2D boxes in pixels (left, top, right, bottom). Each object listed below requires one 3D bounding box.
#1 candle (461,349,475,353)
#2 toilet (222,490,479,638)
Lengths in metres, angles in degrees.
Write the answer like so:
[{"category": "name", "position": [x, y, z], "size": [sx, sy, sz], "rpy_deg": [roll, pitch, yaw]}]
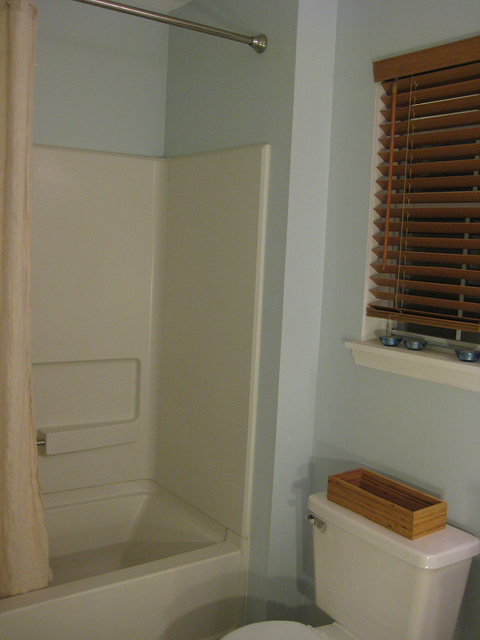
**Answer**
[{"category": "candle", "position": [0.536, 0.070, 1.311], "size": [0.028, 0.005, 0.042], "rpy_deg": [7, 9, 19]}, {"category": "toilet", "position": [0.261, 0.634, 1.325], "size": [0.473, 0.355, 0.342], "rpy_deg": [-1, 10, -30]}]
